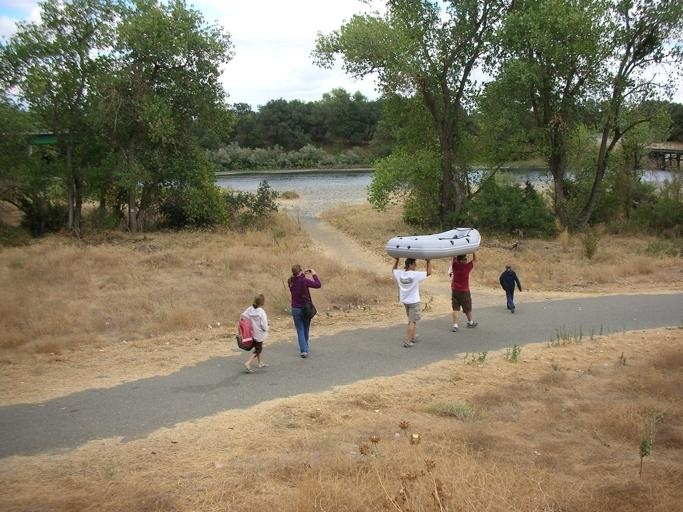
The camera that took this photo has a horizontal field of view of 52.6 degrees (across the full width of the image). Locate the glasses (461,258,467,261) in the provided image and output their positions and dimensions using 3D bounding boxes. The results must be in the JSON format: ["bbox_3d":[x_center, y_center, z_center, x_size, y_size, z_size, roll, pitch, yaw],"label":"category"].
[{"bbox_3d":[3.583,0.114,20.245,0.122,0.054,0.150,-4,12,11],"label":"glasses"}]

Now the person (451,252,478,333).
[{"bbox_3d":[3.686,1.075,20.820,0.795,2.278,1.307,1,5,11],"label":"person"}]

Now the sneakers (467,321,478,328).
[{"bbox_3d":[3.951,2.052,20.967,0.128,0.182,0.374,-1,11,24],"label":"sneakers"}]

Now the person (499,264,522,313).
[{"bbox_3d":[5.747,0.962,23.492,0.596,1.535,2.504,1,5,15],"label":"person"}]

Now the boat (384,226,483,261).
[{"bbox_3d":[3.345,-0.300,24.373,1.609,0.943,4.365,3,6,37],"label":"boat"}]

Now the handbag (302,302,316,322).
[{"bbox_3d":[-0.877,1.477,18.464,0.336,0.487,0.259,0,5,-1],"label":"handbag"}]

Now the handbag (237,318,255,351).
[{"bbox_3d":[-2.484,1.968,17.920,0.389,0.800,0.530,-12,14,3],"label":"handbag"}]

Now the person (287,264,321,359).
[{"bbox_3d":[-1.017,1.454,18.977,0.762,2.505,1.400,0,5,-2],"label":"person"}]
